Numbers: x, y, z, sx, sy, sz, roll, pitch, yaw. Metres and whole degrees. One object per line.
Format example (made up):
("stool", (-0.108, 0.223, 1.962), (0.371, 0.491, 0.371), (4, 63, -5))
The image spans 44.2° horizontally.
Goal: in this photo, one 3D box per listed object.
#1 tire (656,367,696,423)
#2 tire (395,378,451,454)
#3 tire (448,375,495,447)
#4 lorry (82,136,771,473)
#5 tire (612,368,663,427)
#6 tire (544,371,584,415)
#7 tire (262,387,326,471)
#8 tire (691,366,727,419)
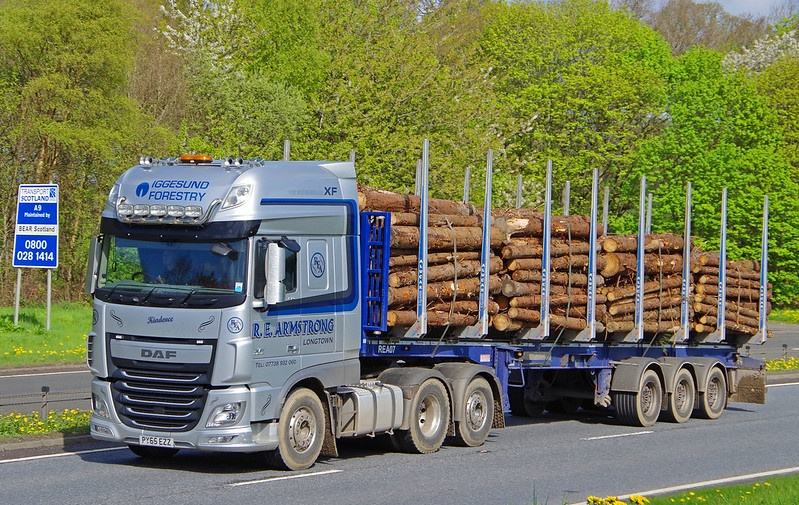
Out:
("tire", (7.701, 4.013, 27.727), (0.501, 1.642, 1.725), (-3, -2, 40))
("tire", (0.484, 3.732, 22.488), (1.832, 1.864, 0.606), (-2, 1, -38))
("tire", (1.835, 3.804, 23.281), (0.396, 1.425, 1.480), (6, 3, 22))
("lorry", (2.004, 1.297, 27.774), (21.147, 7.253, 6.804), (2, -2, -39))
("tire", (6.429, 3.964, 26.903), (1.628, 1.549, 0.512), (-6, 4, -45))
("tire", (4.776, 4.147, 29.110), (1.258, 1.195, 1.223), (-2, 4, -36))
("tire", (-2.254, 3.738, 20.876), (0.565, 1.630, 1.492), (0, -20, 42))
("tire", (9.116, 4.013, 28.927), (1.201, 1.139, 0.415), (13, -16, -41))
